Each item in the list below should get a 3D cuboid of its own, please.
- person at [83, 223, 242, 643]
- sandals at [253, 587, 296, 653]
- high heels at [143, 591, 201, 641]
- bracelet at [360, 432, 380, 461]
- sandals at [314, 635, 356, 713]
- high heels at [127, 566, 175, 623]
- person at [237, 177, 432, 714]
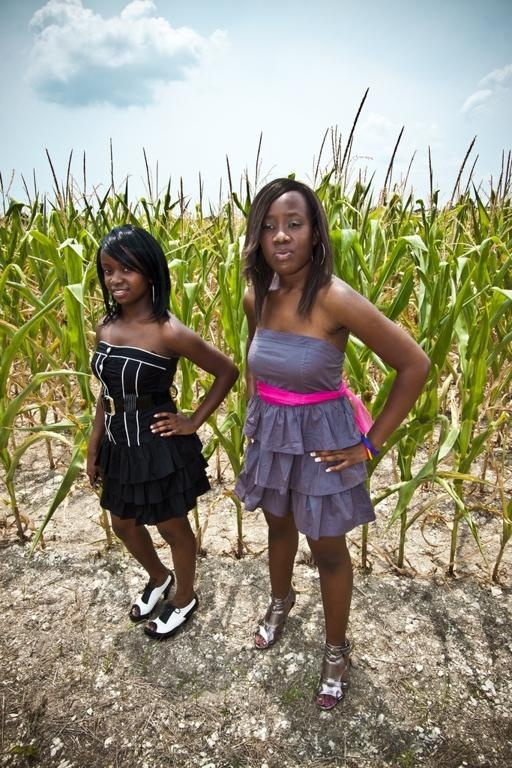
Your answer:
[{"bbox_3d":[-0.346,0.198,1.690,0.451,1.395,0.371,12,23,31],"label":"person"},{"bbox_3d":[0.061,0.818,1.757,0.076,0.094,0.235,1,9,25],"label":"sandals"},{"bbox_3d":[-0.311,0.842,1.836,0.080,0.085,0.208,11,30,35],"label":"high heels"},{"bbox_3d":[0.291,0.163,1.348,0.028,0.066,0.054,-24,-3,4],"label":"bracelet"},{"bbox_3d":[0.231,0.886,1.527,0.070,0.092,0.216,-4,2,12],"label":"sandals"},{"bbox_3d":[-0.394,0.777,1.930,0.077,0.093,0.235,6,44,29],"label":"high heels"},{"bbox_3d":[0.152,0.205,1.469,0.318,1.493,0.564,-15,24,-37],"label":"person"}]
